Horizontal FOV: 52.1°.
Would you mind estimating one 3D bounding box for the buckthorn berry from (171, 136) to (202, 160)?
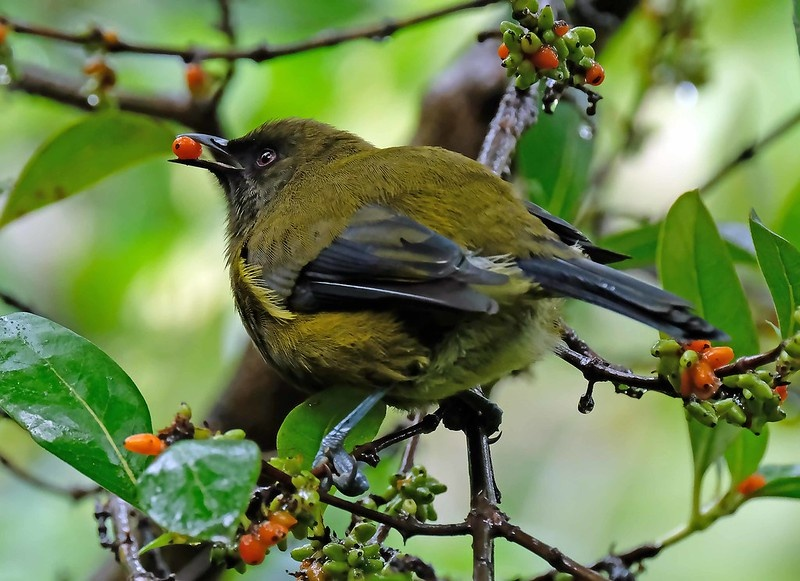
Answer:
[{"bbox_3d":[-0.988,-0.658,3.837,0.099,0.097,0.133,-6,-6,42],"label":"buckthorn berry"}]
